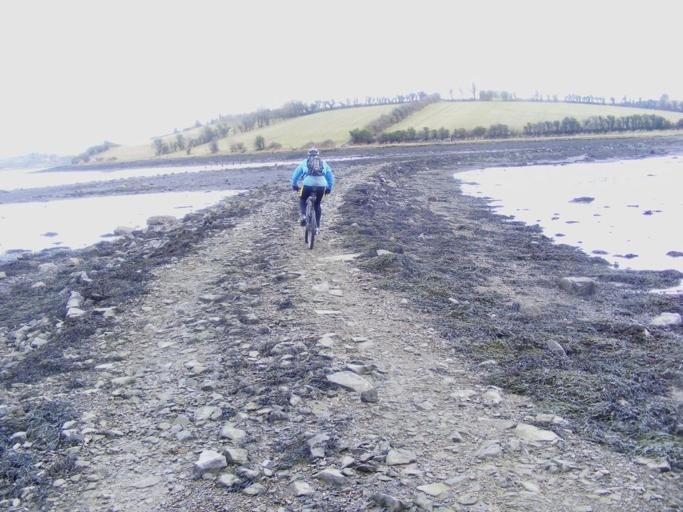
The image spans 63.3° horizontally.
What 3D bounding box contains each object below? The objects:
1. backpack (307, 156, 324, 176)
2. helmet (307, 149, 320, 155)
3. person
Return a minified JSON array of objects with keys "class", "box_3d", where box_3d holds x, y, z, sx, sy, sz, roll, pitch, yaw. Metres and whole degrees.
[{"class":"backpack","box_3d":[-0.764,-2.554,16.159,0.493,0.521,0.224,2,-4,-13]},{"class":"helmet","box_3d":[-0.824,-2.978,16.232,0.239,0.124,0.316,-1,8,-5]},{"class":"person","box_3d":[-0.884,-1.868,16.721,1.097,2.557,0.849,2,16,26]}]
